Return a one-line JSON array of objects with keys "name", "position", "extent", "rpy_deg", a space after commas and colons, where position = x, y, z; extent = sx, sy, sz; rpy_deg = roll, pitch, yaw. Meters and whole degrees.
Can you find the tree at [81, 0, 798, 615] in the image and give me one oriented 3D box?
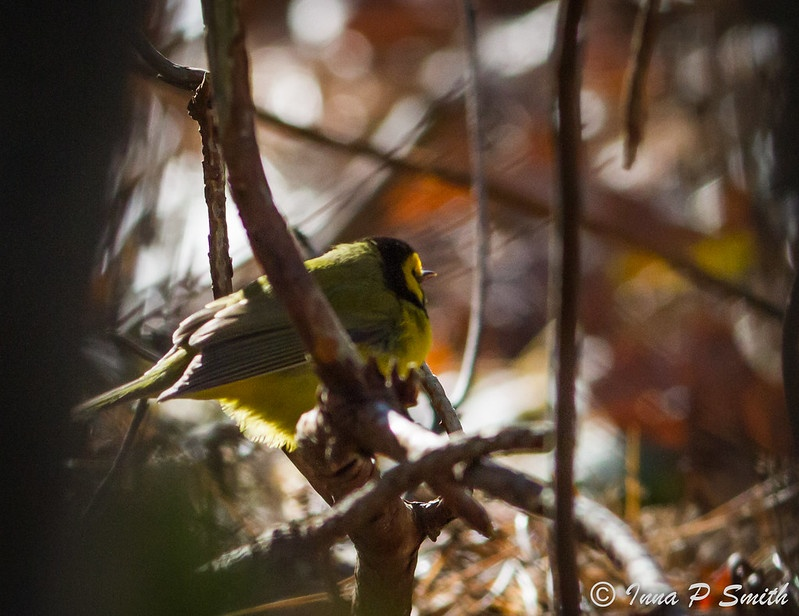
[{"name": "tree", "position": [0.261, 0.010, 3.871], "extent": [2.457, 2.656, 0.399], "rpy_deg": [2, 3, 19]}]
